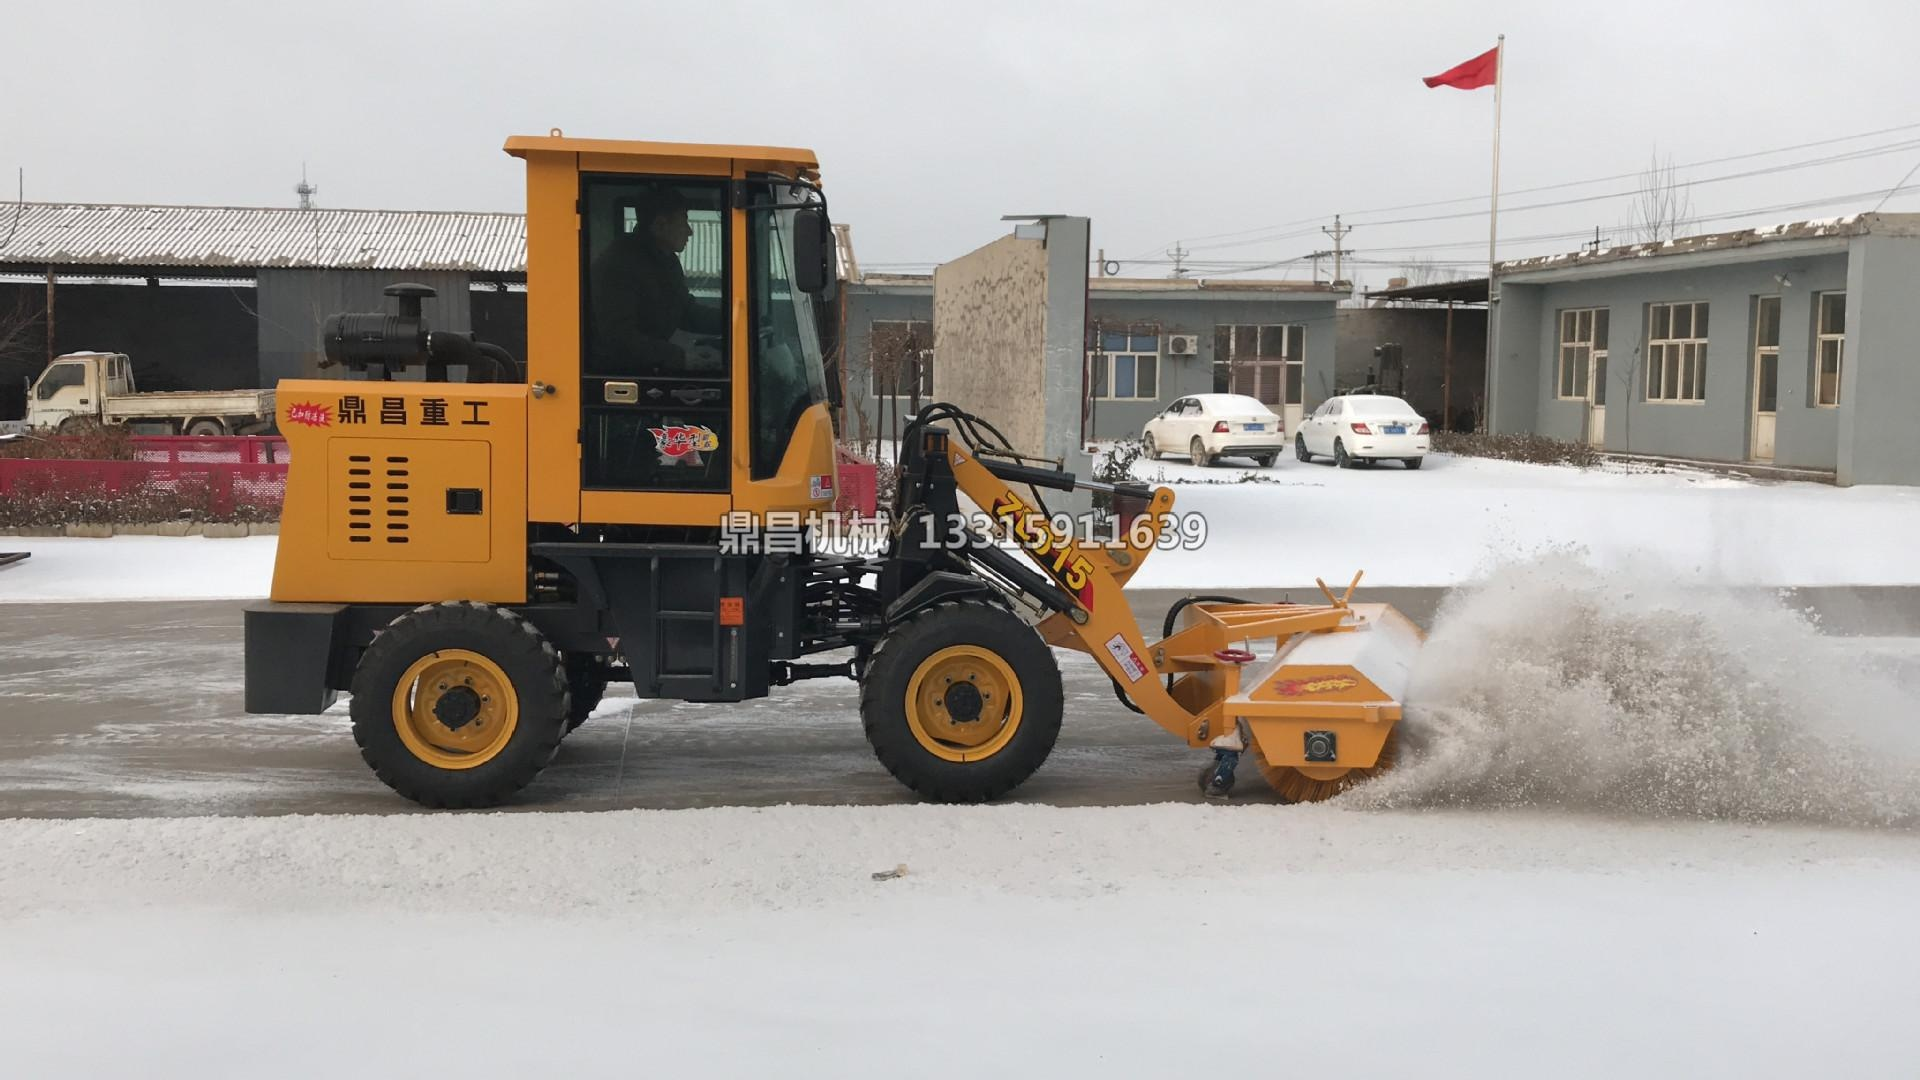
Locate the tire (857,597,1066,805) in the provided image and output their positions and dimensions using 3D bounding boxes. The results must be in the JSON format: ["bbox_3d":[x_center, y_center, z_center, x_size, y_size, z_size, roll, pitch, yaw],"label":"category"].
[{"bbox_3d":[0.021,1.582,20.721,1.769,1.923,0.591,-2,-1,-3],"label":"tire"}]

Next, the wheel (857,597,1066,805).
[{"bbox_3d":[0.021,1.582,20.721,1.769,1.923,0.591,-2,-1,-3],"label":"wheel"}]

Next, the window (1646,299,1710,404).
[{"bbox_3d":[14.132,-3.652,41.389,0.150,2.166,2.047,4,-1,-15],"label":"window"}]

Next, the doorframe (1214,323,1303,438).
[{"bbox_3d":[7.160,-3.725,50.670,2.192,2.669,0.095,0,25,5],"label":"doorframe"}]

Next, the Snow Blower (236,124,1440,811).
[{"bbox_3d":[-1.224,-0.870,23.014,10.946,6.205,5.911,-1,6,-3],"label":"Snow Blower"}]

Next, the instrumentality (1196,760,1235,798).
[{"bbox_3d":[2.567,2.367,21.002,0.330,0.456,0.317,-1,0,4],"label":"instrumentality"}]

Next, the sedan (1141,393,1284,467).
[{"bbox_3d":[5.035,-2.110,41.892,1.252,1.044,2.783,-1,8,-13],"label":"sedan"}]

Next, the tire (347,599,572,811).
[{"bbox_3d":[-4.873,1.542,20.557,1.524,1.640,0.514,16,1,-2],"label":"tire"}]

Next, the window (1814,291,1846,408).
[{"bbox_3d":[15.479,-3.324,37.473,0.385,2.020,0.830,-1,7,-7],"label":"window"}]

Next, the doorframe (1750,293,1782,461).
[{"bbox_3d":[14.891,-2.938,39.037,0.406,3.009,0.779,0,7,4],"label":"doorframe"}]

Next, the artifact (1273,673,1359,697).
[{"bbox_3d":[3.508,1.423,20.716,0.927,0.270,0.240,-1,-4,8],"label":"artifact"}]

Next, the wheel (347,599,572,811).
[{"bbox_3d":[-4.873,1.542,20.557,1.524,1.640,0.514,16,1,-2],"label":"wheel"}]
